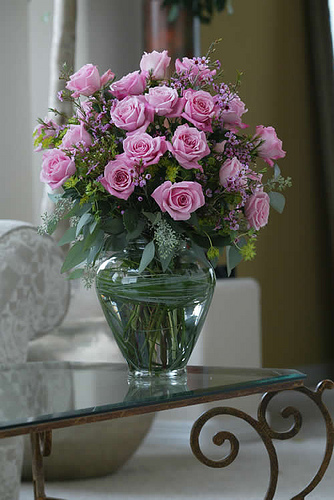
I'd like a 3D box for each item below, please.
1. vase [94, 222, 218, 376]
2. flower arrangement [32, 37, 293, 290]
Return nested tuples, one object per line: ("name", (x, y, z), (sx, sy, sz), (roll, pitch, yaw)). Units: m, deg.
("vase", (-0.008, 0.088, 0.887), (0.188, 0.255, 0.181), (1, -4, -25))
("flower arrangement", (-0.023, -0.142, 0.919), (0.445, 0.415, 0.254), (-1, -3, 11))
